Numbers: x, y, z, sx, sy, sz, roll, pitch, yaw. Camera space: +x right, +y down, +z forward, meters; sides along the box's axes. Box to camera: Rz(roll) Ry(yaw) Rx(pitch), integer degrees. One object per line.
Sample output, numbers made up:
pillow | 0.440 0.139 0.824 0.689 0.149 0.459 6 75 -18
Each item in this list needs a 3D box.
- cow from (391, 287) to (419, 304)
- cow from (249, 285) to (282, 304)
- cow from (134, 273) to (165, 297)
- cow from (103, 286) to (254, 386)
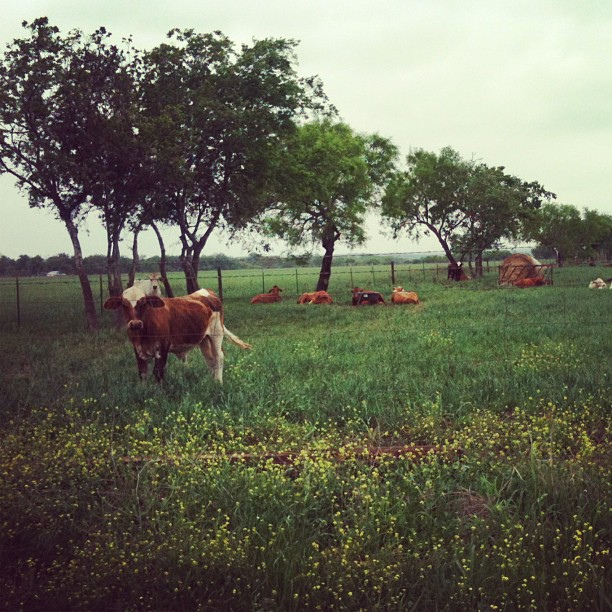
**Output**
cow | 3.632 -0.384 27.231 0.953 0.541 1.825 -2 3 5
cow | -1.582 -0.484 30.887 1.084 0.598 1.932 -1 3 27
cow | -2.750 -0.357 12.690 0.222 0.459 0.634 -6 6 -32
cow | -2.327 0.624 13.081 2.434 1.784 0.750 -3 3 -45
